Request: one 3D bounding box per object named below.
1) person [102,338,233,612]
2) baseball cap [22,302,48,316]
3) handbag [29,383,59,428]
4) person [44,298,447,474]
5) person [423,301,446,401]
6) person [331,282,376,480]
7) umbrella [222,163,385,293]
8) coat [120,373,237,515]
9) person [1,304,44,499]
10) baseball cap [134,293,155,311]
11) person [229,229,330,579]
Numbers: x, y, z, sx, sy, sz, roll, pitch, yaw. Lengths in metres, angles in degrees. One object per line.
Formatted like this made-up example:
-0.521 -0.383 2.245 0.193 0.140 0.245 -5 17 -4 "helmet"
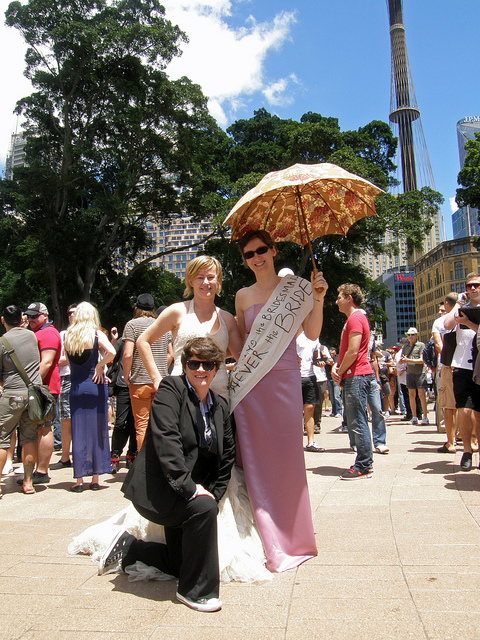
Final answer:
-0.373 0.745 2.933 0.745 0.860 0.776 -4 -2 -8 "person"
-2.273 -0.123 6.254 0.154 0.127 0.228 -11 -18 24 "baseball cap"
-1.944 0.810 5.492 0.233 0.412 0.336 -5 -5 -14 "handbag"
0.208 0.731 5.688 2.934 1.420 0.675 3 -10 -22 "person"
3.051 0.516 8.816 0.345 1.468 0.456 12 -12 -38 "person"
1.182 0.569 5.874 0.453 1.651 0.948 -4 -2 12 "person"
0.453 -0.639 3.813 0.878 0.843 0.898 -2 -22 -23 "umbrella"
-0.276 0.624 2.937 0.630 0.446 0.393 -2 -3 -43 "coat"
-2.167 0.743 5.505 0.420 1.833 0.588 -3 -2 -20 "person"
-1.069 -0.206 6.337 0.141 0.133 0.222 3 13 -17 "baseball cap"
0.183 0.378 3.459 0.641 1.547 0.765 -5 -2 25 "person"
